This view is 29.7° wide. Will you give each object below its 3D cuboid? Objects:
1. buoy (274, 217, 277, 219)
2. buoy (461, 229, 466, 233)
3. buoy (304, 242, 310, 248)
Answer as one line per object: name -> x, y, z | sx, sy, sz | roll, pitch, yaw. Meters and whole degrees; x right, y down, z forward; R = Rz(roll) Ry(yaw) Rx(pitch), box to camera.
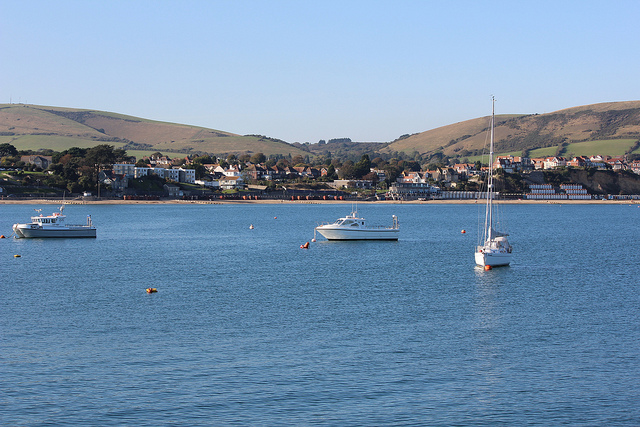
buoy -> -10.866, 0.855, 306.799 | 0.564, 0.291, 0.532 | 4, 6, 23
buoy -> 31.630, 3.790, 261.036 | 0.582, 0.494, 0.632 | -18, 14, -25
buoy -> -2.176, 5.836, 229.985 | 1.021, 0.562, 1.524 | 0, 10, 5
